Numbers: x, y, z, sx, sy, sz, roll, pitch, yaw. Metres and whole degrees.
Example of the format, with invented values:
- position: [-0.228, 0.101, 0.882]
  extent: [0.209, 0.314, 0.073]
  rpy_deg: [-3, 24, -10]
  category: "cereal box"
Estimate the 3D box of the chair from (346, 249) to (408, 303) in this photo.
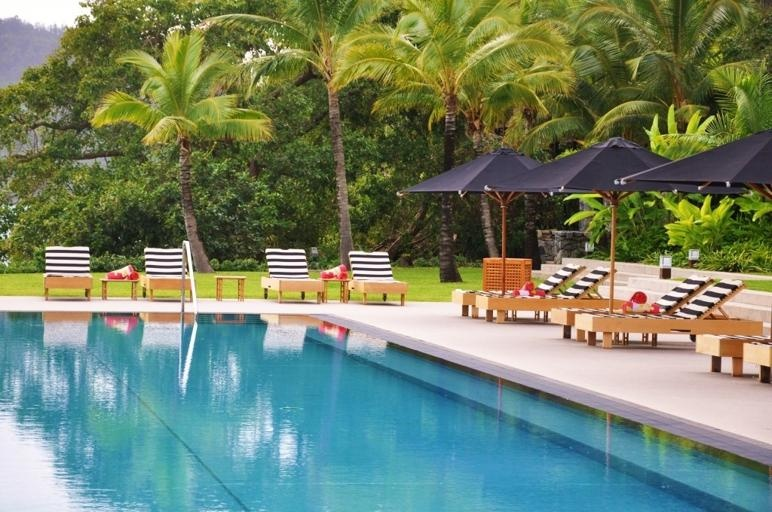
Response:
- position: [-0.263, 0.515, 31.295]
  extent: [0.971, 1.165, 1.725]
  rpy_deg: [0, -1, -14]
  category: "chair"

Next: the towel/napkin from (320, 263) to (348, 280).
- position: [-1.386, 0.451, 31.547]
  extent: [0.441, 0.549, 0.484]
  rpy_deg: [2, -3, -39]
  category: "towel/napkin"

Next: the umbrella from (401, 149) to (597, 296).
- position: [2.479, -0.666, 29.306]
  extent: [3.292, 3.277, 3.200]
  rpy_deg: [-5, 7, -37]
  category: "umbrella"

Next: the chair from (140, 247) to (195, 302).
- position: [-5.762, 0.445, 31.092]
  extent: [1.162, 1.350, 2.082]
  rpy_deg: [0, 2, -18]
  category: "chair"

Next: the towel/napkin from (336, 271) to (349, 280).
- position: [-1.142, 0.536, 31.556]
  extent: [0.215, 0.182, 0.234]
  rpy_deg: [0, 3, -2]
  category: "towel/napkin"

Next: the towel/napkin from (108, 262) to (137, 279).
- position: [-6.904, 0.458, 31.037]
  extent: [0.768, 0.283, 1.053]
  rpy_deg: [-4, 15, -14]
  category: "towel/napkin"

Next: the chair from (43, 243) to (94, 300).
- position: [-8.692, 0.440, 30.873]
  extent: [1.630, 1.446, 1.300]
  rpy_deg: [0, -2, 37]
  category: "chair"
